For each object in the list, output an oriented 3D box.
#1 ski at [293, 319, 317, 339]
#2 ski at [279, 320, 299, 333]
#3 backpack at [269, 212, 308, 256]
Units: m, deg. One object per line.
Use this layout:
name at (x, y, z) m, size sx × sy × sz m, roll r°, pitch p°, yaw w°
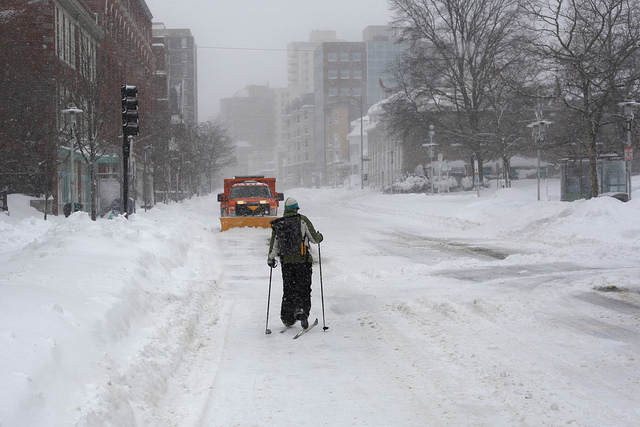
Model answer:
ski at (-0.307, 2.328, 13.918) m, size 0.083 × 0.113 × 0.792 m, roll -33°, pitch 3°, yaw 23°
ski at (-0.666, 2.317, 14.059) m, size 0.046 × 0.047 × 0.435 m, roll -24°, pitch -1°, yaw 38°
backpack at (-0.587, 0.440, 14.030) m, size 0.675 × 0.819 × 0.452 m, roll -7°, pitch 8°, yaw 21°
